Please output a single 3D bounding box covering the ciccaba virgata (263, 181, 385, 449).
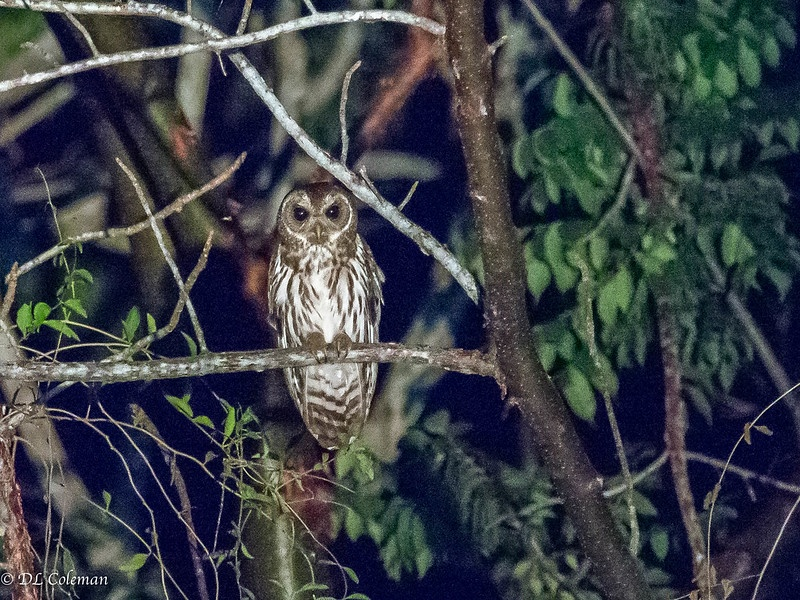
[{"bbox_3d":[-0.278,0.055,5.030,0.402,0.982,0.462,4,-15,-27],"label":"ciccaba virgata"}]
